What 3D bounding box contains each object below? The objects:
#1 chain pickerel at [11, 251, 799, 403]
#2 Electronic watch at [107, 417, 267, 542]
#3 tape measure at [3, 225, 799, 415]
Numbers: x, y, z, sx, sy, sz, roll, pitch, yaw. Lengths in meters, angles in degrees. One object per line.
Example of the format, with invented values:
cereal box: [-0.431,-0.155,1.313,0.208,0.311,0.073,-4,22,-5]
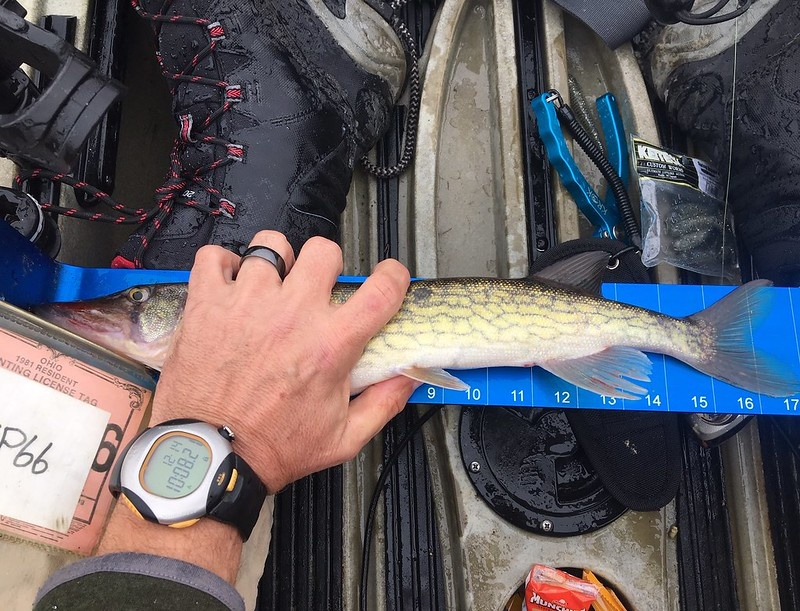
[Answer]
chain pickerel: [0.228,0.026,2.448,2.206,0.354,0.498,1,81,1]
Electronic watch: [-0.582,0.469,2.122,0.406,0.128,0.289,13,82,2]
tape measure: [0.014,0.068,2.465,2.901,0.619,0.681,0,90,-1]
